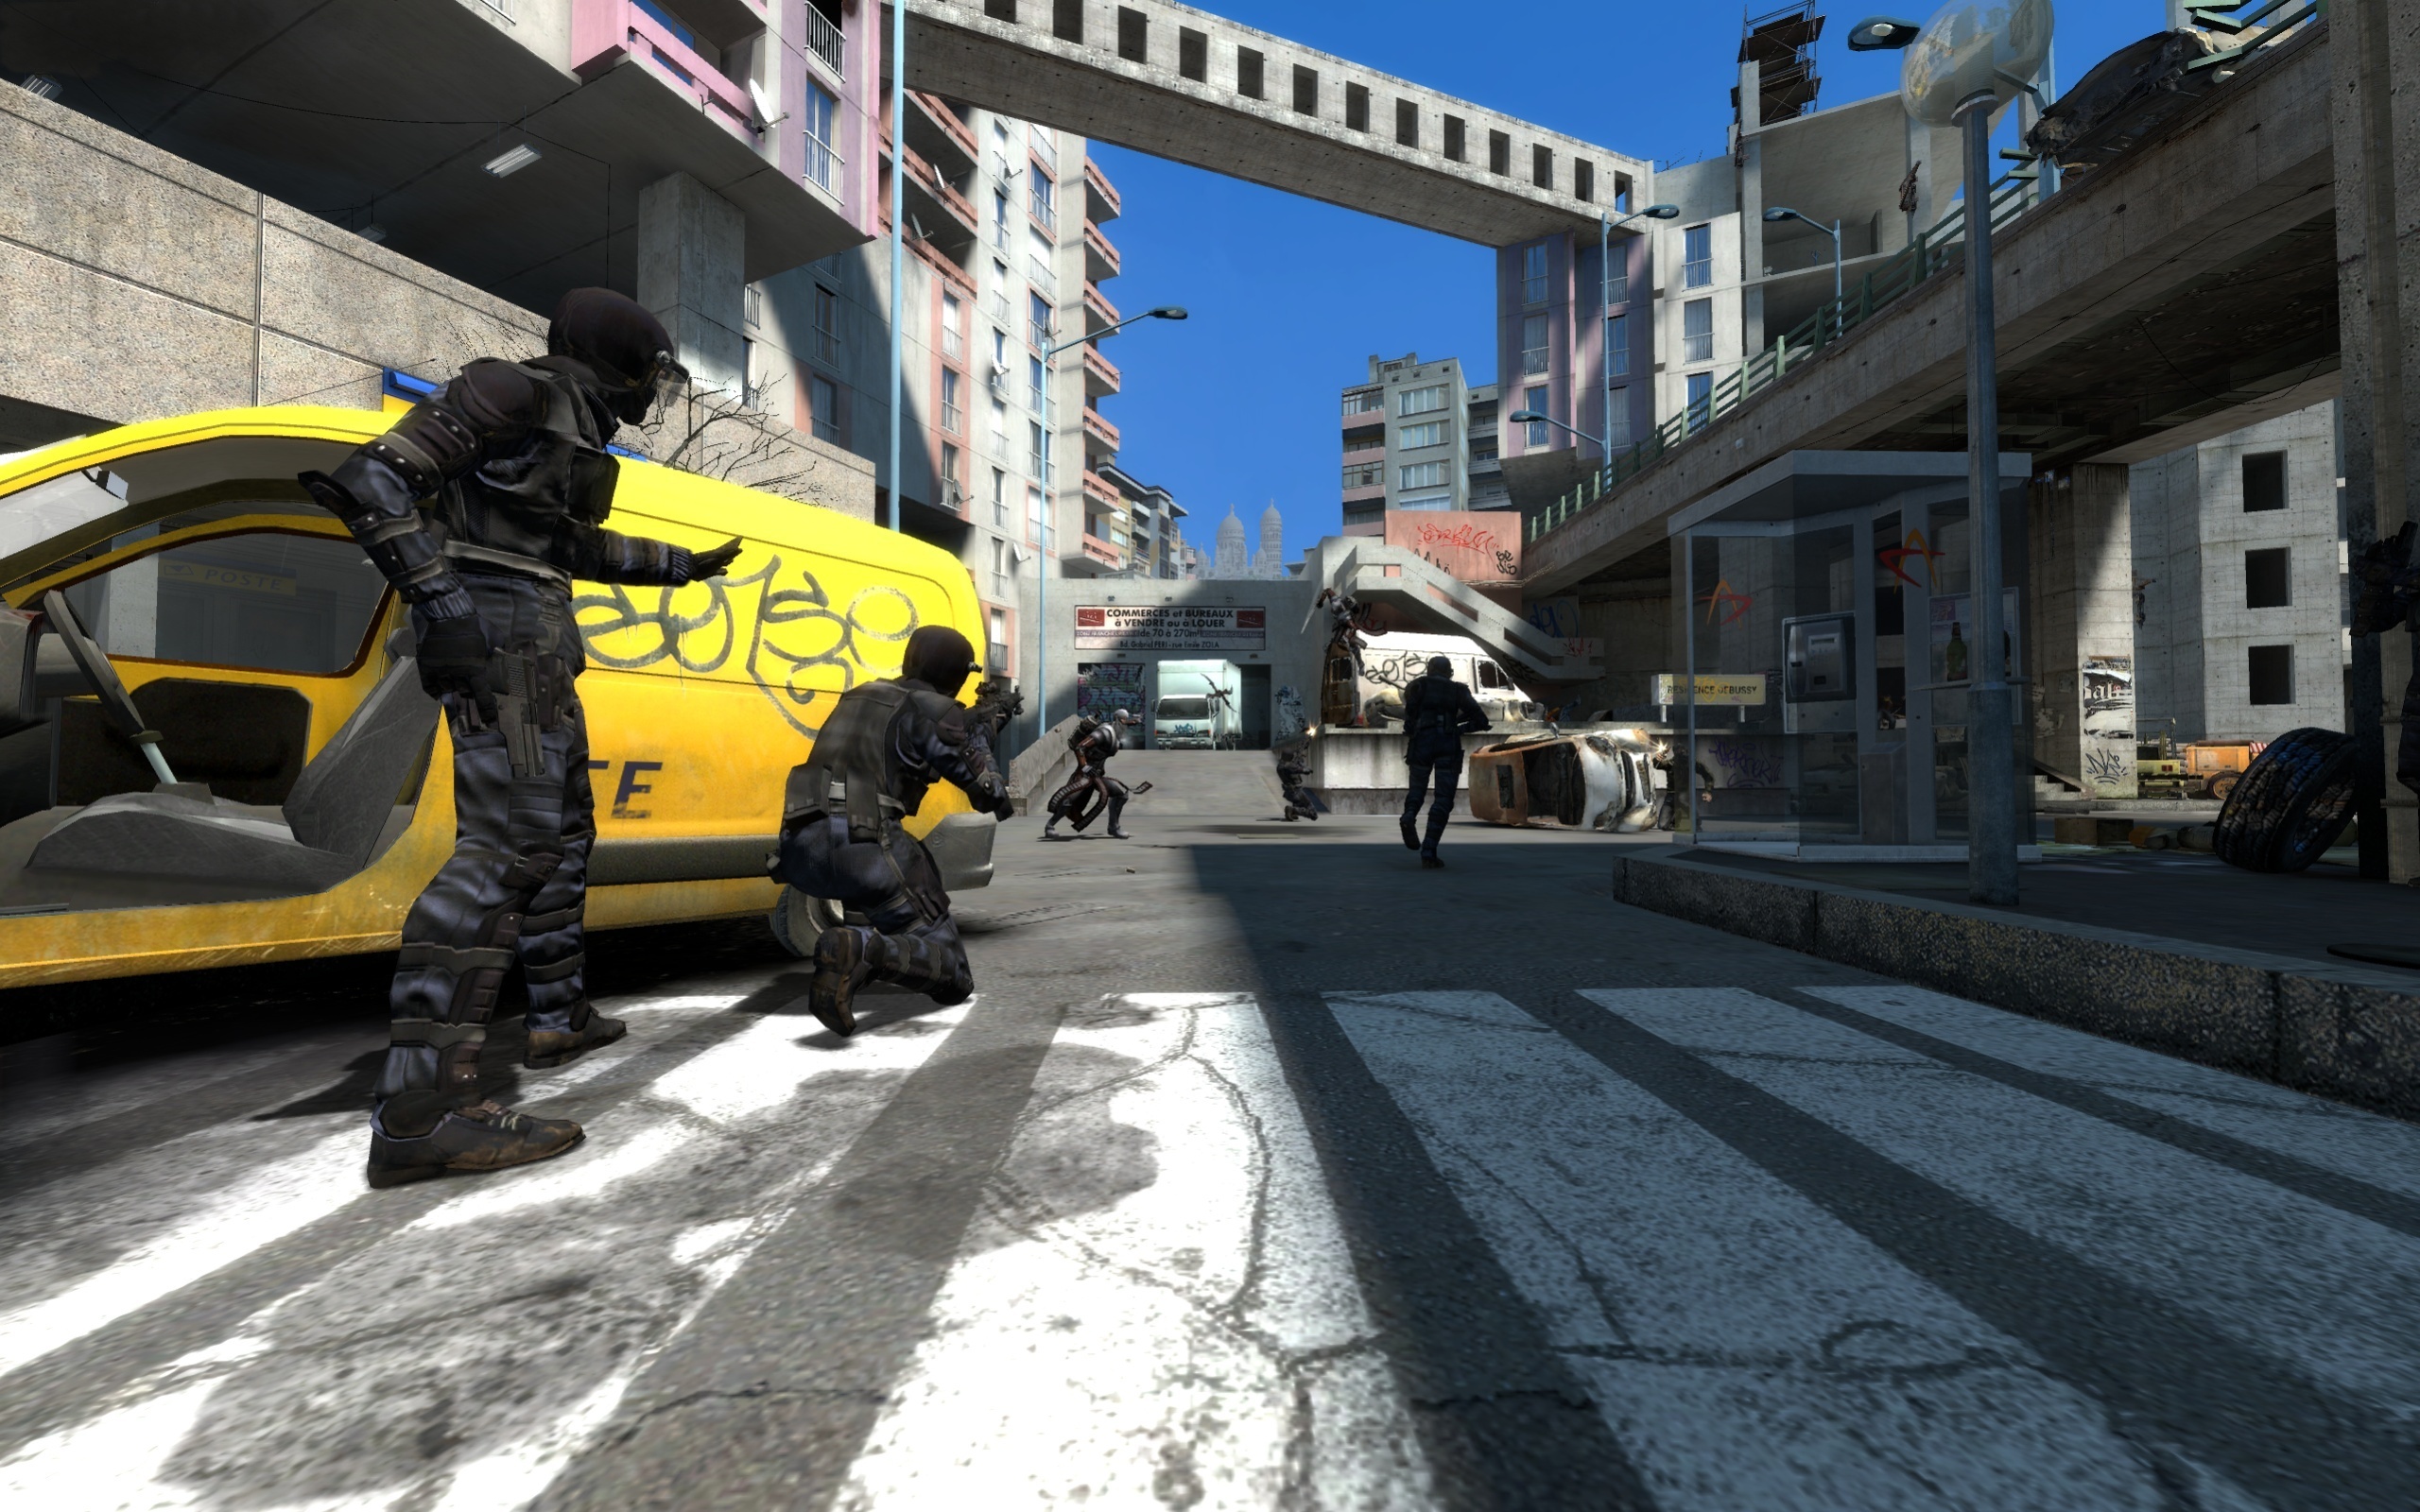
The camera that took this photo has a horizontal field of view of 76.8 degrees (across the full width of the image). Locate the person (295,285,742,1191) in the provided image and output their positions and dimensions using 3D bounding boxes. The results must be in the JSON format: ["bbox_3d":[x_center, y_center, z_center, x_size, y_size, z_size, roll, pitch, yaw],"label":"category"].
[{"bbox_3d":[-3.198,-0.186,7.054,1.468,4.048,0.938,-5,8,-34],"label":"person"}]

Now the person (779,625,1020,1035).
[{"bbox_3d":[-1.765,0.387,8.368,1.162,2.158,0.778,-2,7,-19],"label":"person"}]
